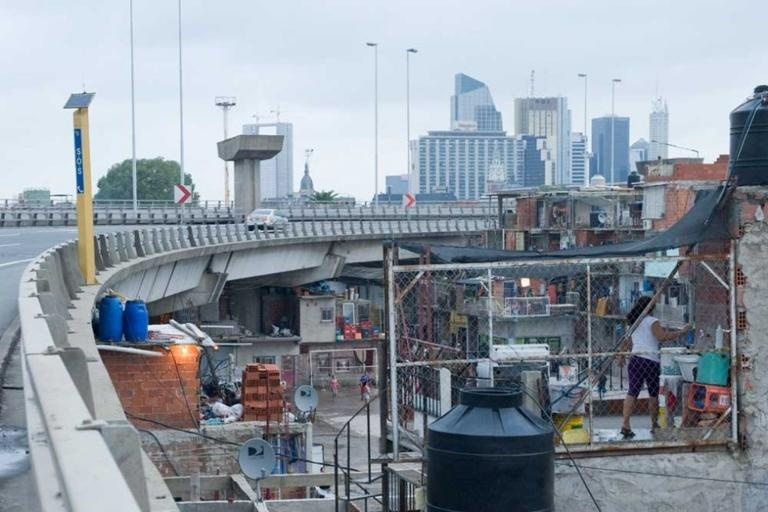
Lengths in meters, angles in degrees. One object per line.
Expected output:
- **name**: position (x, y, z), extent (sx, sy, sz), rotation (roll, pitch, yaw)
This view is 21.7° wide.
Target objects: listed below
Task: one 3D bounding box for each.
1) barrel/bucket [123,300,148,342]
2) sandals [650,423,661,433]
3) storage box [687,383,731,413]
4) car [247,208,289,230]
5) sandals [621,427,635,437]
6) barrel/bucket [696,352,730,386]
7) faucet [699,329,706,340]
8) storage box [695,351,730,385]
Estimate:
- **barrel/bucket**: position (-8.861, 2.204, 71.697), extent (0.903, 1.484, 0.548), rotation (-3, 3, -23)
- **sandals**: position (8.947, 5.431, 65.465), extent (0.266, 0.323, 0.280), rotation (-2, -2, 37)
- **storage box**: position (10.637, 4.452, 65.018), extent (0.994, 0.799, 1.041), rotation (1, 0, 18)
- **car**: position (-6.583, -2.068, 109.960), extent (1.263, 1.023, 2.889), rotation (2, 7, 12)
- **sandals**: position (7.988, 5.591, 65.186), extent (0.547, 0.248, 0.196), rotation (6, -1, -41)
- **barrel/bucket**: position (10.799, 3.495, 65.251), extent (0.954, 1.075, 0.914), rotation (7, -7, 1)
- **faucet**: position (10.568, 2.452, 66.039), extent (0.212, 0.315, 0.100), rotation (-1, -4, 22)
- **storage box**: position (10.759, 3.459, 65.265), extent (0.992, 1.116, 0.996), rotation (4, -1, 40)
